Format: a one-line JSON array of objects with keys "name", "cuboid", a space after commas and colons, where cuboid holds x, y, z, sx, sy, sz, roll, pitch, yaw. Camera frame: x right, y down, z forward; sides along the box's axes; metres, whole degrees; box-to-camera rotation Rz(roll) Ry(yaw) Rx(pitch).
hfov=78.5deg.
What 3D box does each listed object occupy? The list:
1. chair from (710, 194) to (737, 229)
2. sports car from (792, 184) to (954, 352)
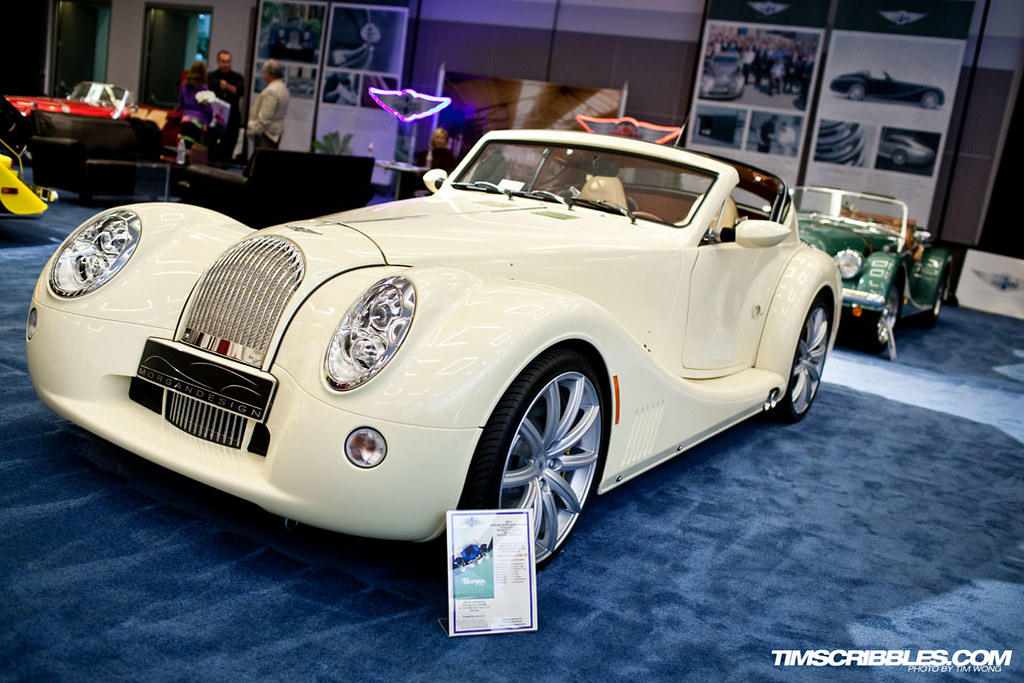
[{"name": "chair", "cuboid": [1.230, -0.764, 3.665, 0.164, 0.236, 0.217, 12, 9, 17]}, {"name": "sports car", "cuboid": [4.762, -1.071, 8.267, 1.880, 1.650, 3.399, 9, 10, 36]}]
